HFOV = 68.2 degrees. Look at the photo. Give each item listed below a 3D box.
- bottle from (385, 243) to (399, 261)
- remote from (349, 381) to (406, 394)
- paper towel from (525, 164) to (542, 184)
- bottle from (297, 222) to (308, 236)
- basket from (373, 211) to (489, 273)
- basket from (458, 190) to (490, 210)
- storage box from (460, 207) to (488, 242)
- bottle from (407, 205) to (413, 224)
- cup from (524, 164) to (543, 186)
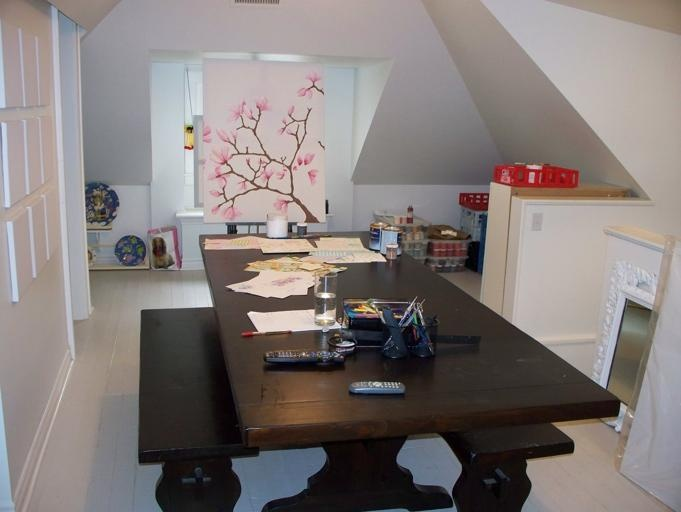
[{"bbox_3d":[0.300,-0.021,2.947,0.082,0.091,0.083,5,7,44],"label":"bottle"},{"bbox_3d":[0.124,0.418,1.600,0.136,0.024,0.066,0,8,-1],"label":"remote"},{"bbox_3d":[1.328,-0.556,3.501,0.095,0.134,0.180,-3,18,-2],"label":"paper towel"},{"bbox_3d":[-0.266,-0.180,3.436,0.077,0.089,0.079,2,8,10],"label":"bottle"},{"bbox_3d":[1.051,-0.143,5.458,0.687,0.391,1.065,-2,8,-13],"label":"basket"},{"bbox_3d":[1.526,-0.633,5.778,0.315,0.183,0.511,2,12,13],"label":"basket"},{"bbox_3d":[1.472,-0.344,5.522,0.215,0.285,0.405,-4,18,-11],"label":"storage box"},{"bbox_3d":[0.721,-0.435,5.244,0.073,0.184,0.242,1,12,10],"label":"bottle"},{"bbox_3d":[1.326,-0.563,3.519,0.110,0.153,0.151,-7,16,-17],"label":"cup"}]
